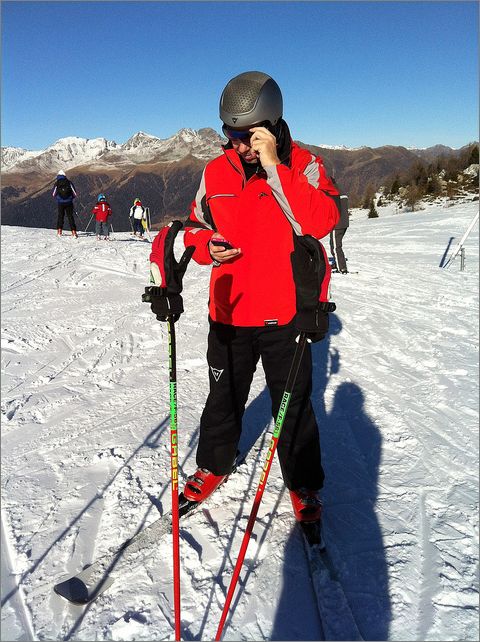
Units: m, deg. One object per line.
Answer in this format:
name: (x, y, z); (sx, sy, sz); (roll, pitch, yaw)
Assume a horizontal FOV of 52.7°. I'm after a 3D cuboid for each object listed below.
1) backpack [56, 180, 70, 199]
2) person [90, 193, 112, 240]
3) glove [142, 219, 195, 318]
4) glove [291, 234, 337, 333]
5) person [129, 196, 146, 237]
backpack: (-4.302, -3.230, 11.788); (0.371, 0.506, 0.482); (-2, 12, -18)
person: (-3.906, -2.942, 13.673); (0.450, 1.215, 1.661); (-2, 12, -16)
glove: (-0.328, -0.210, 2.216); (0.238, 0.499, 0.327); (1, 12, -6)
glove: (0.314, -0.154, 2.121); (0.130, 0.381, 0.279); (4, 10, -4)
person: (-3.531, -3.590, 16.724); (0.493, 1.297, 2.203); (-1, 12, -12)
